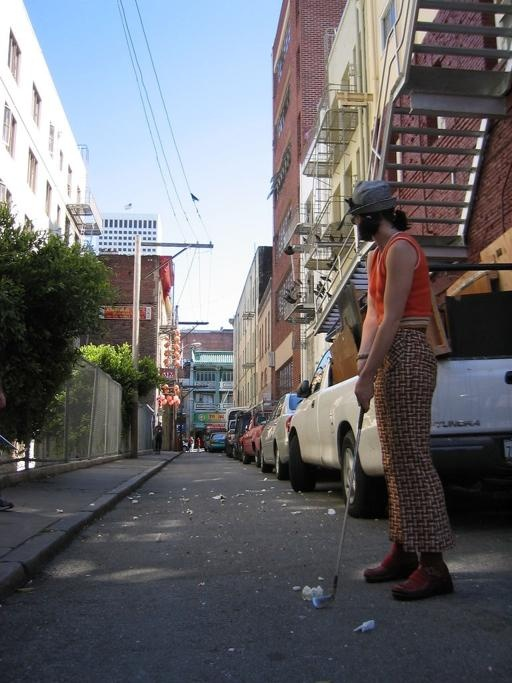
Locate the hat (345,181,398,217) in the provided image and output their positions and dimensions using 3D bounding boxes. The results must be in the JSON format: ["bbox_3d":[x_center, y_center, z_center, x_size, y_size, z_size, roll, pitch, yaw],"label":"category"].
[{"bbox_3d":[0.574,-0.725,3.683,0.213,0.124,0.169,-21,11,-22],"label":"hat"}]

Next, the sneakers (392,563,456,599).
[{"bbox_3d":[0.759,1.100,3.463,0.303,0.146,0.117,6,-21,-31],"label":"sneakers"}]

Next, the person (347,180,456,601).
[{"bbox_3d":[0.683,0.187,3.631,0.411,1.983,0.562,-3,-7,10],"label":"person"}]
